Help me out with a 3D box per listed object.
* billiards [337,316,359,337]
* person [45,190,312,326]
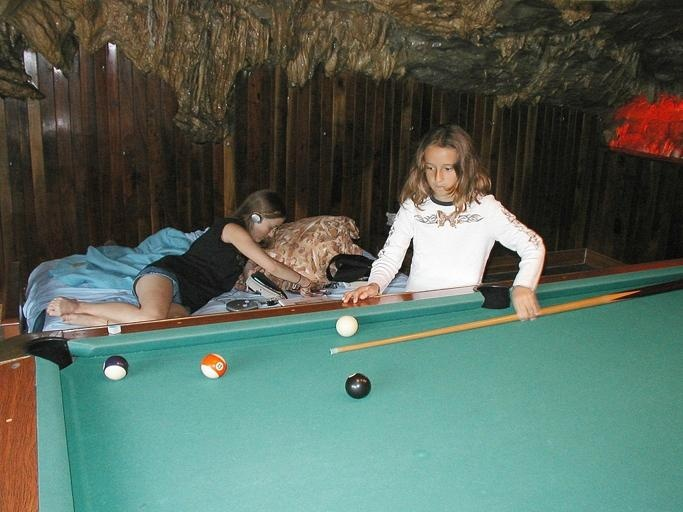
[{"bbox_3d":[0.017,0.220,1.639,0.044,0.043,0.050,43,-16,-2],"label":"billiards"},{"bbox_3d":[-0.952,0.046,3.145,1.703,0.671,0.632,-5,2,-8],"label":"person"}]
